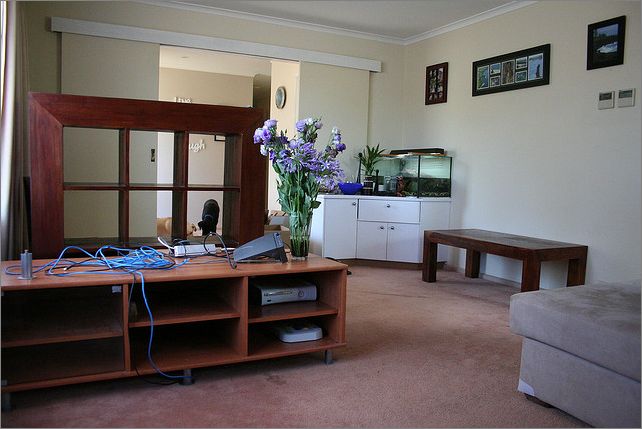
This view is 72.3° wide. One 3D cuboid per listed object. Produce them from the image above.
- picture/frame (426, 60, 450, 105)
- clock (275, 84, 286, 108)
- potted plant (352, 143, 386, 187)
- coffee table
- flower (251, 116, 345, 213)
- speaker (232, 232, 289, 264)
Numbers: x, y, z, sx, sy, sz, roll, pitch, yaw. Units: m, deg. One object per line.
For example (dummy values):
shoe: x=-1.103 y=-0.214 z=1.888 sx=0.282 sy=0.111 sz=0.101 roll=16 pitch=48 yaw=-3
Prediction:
picture/frame: x=1.585 y=-1.765 z=5.956 sx=0.069 sy=0.545 sz=0.406 roll=-5 pitch=12 yaw=-31
clock: x=-0.675 y=-2.033 z=7.558 sx=0.066 sy=0.465 sz=0.471 roll=1 pitch=-2 yaw=-20
potted plant: x=0.698 y=-0.718 z=6.320 sx=0.566 sy=0.723 sz=0.482 roll=1 pitch=-4 yaw=6
coffee table: x=1.953 y=0.541 z=4.741 sx=0.892 sy=0.672 sz=1.418 roll=-5 pitch=12 yaw=-32
flower: x=-0.098 y=-0.352 z=3.273 sx=0.657 sy=0.744 sz=0.642 roll=3 pitch=6 yaw=33
speaker: x=-0.418 y=0.220 z=3.003 sx=0.306 sy=0.127 sz=0.190 roll=-1 pitch=15 yaw=-11
